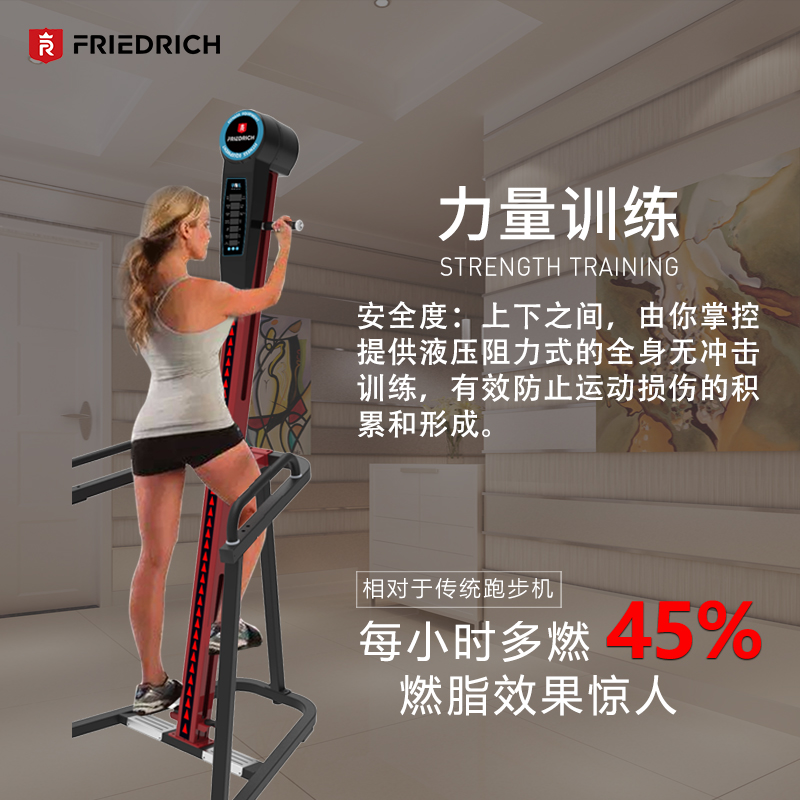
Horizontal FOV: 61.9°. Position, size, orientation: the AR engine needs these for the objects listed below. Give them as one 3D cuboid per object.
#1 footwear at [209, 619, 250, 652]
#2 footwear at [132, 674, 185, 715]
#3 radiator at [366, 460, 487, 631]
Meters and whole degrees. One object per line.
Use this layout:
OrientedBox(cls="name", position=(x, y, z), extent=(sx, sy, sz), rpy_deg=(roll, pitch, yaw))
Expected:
OrientedBox(cls="footwear", position=(-0.430, 0.602, 1.670), extent=(0.099, 0.056, 0.143), rpy_deg=(8, -1, -6))
OrientedBox(cls="footwear", position=(-0.635, 0.775, 1.791), extent=(0.064, 0.085, 0.176), rpy_deg=(-3, -4, 22))
OrientedBox(cls="radiator", position=(0.152, 0.777, 3.479), extent=(0.252, 0.753, 0.799), rpy_deg=(6, -11, -37))
